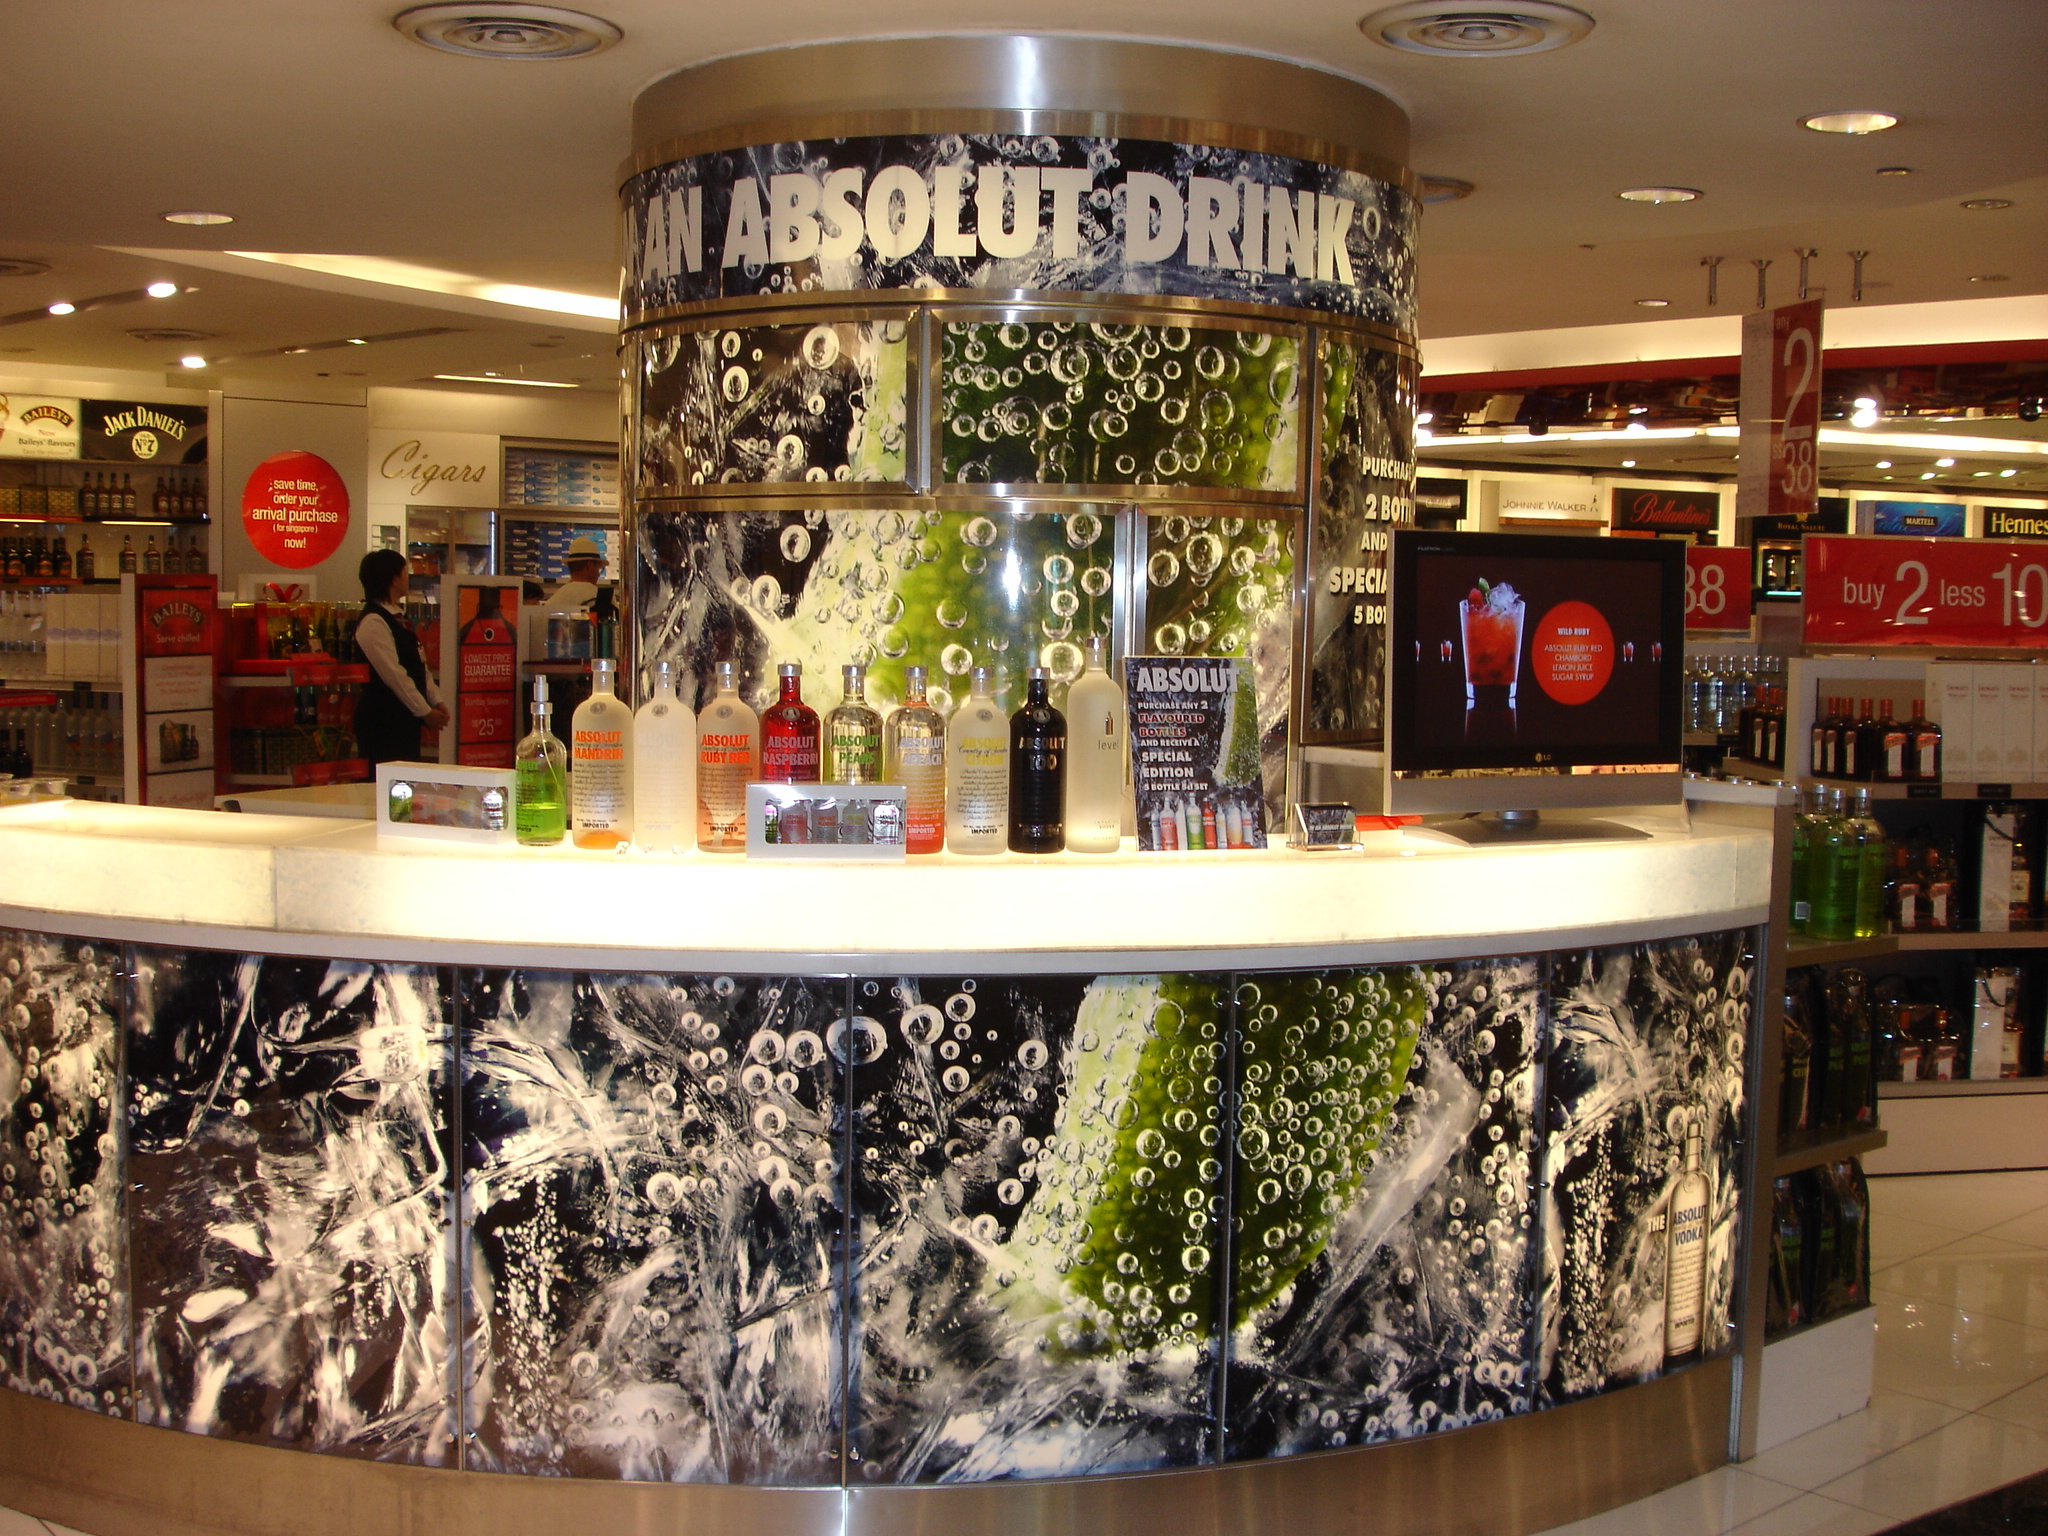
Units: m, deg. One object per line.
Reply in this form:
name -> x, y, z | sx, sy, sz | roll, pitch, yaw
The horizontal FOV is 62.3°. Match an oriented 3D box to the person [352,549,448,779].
person -> -3.184, -0.516, 8.575 | 0.469, 1.101, 0.773 | 6, 10, -16

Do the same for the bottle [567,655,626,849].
bottle -> -0.917, -0.047, 3.692 | 0.140, 0.390, 0.222 | 6, 9, -15

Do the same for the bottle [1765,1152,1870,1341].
bottle -> 2.073, 1.238, 4.432 | 0.478, 0.287, 0.133 | 1, 11, -38

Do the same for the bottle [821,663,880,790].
bottle -> -0.365, -0.086, 3.684 | 0.140, 0.277, 0.265 | 7, 10, -6

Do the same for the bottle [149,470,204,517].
bottle -> -6.342, -2.033, 12.609 | 0.320, 0.471, 0.160 | 0, 6, -17

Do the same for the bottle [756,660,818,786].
bottle -> -0.507, -0.098, 3.702 | 0.144, 0.250, 0.189 | 7, 9, -8

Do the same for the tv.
tv -> 1.180, -0.218, 3.979 | 0.665, 0.597, 0.070 | -1, 2, -20

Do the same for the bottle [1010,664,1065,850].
bottle -> 0.031, -0.009, 3.682 | 0.146, 0.377, 0.095 | 10, 9, 10

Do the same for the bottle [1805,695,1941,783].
bottle -> 3.053, -0.145, 6.072 | 0.316, 0.254, 0.323 | 1, 8, 0

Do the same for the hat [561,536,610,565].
hat -> -3.389, -1.671, 12.948 | 0.478, 0.229, 0.491 | -1, 3, -19

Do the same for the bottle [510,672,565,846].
bottle -> -1.039, -0.013, 3.649 | 0.111, 0.353, 0.084 | 10, 9, 14
